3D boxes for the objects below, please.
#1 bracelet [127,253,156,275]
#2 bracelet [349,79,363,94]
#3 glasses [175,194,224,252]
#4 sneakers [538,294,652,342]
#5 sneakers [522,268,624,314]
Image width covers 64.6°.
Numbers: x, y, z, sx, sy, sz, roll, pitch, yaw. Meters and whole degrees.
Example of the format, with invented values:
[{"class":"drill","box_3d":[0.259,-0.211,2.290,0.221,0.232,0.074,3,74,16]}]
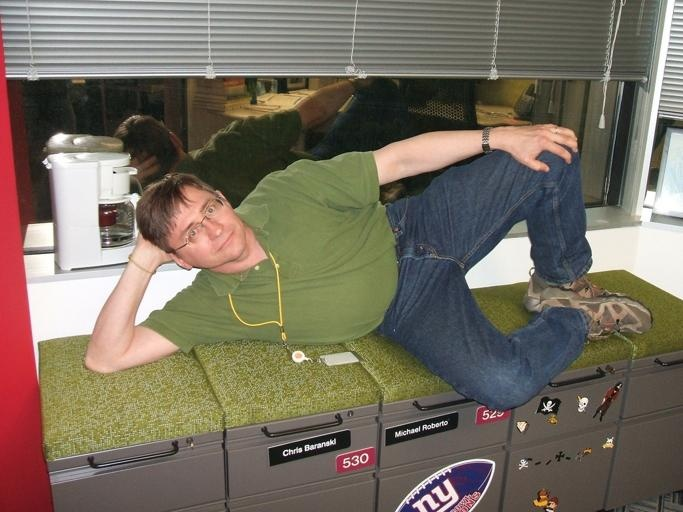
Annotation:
[{"class":"bracelet","box_3d":[-0.642,0.035,1.740,0.070,0.019,0.063,26,6,-21]},{"class":"bracelet","box_3d":[0.059,-0.725,2.301,0.067,0.069,0.041,7,12,-10]},{"class":"glasses","box_3d":[-0.430,-0.107,1.676,0.167,0.050,0.164,-47,7,-11]},{"class":"sneakers","box_3d":[0.882,0.197,2.000,0.440,0.176,0.171,-1,43,7]},{"class":"sneakers","box_3d":[0.837,0.138,2.009,0.359,0.152,0.130,-2,26,18]}]
